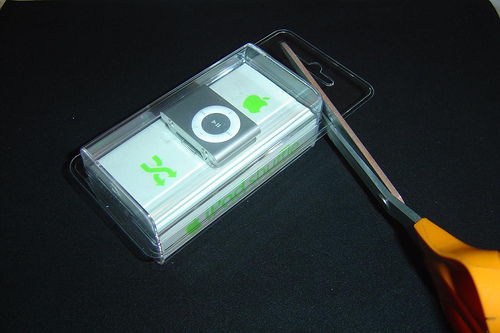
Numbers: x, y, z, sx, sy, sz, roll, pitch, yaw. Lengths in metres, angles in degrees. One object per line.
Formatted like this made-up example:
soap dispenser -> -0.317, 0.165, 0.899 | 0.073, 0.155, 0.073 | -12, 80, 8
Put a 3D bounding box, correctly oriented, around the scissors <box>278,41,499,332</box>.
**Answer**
scissors -> 0.314, 0.062, 0.969 | 0.138, 0.608, 0.260 | -32, 2, -12
